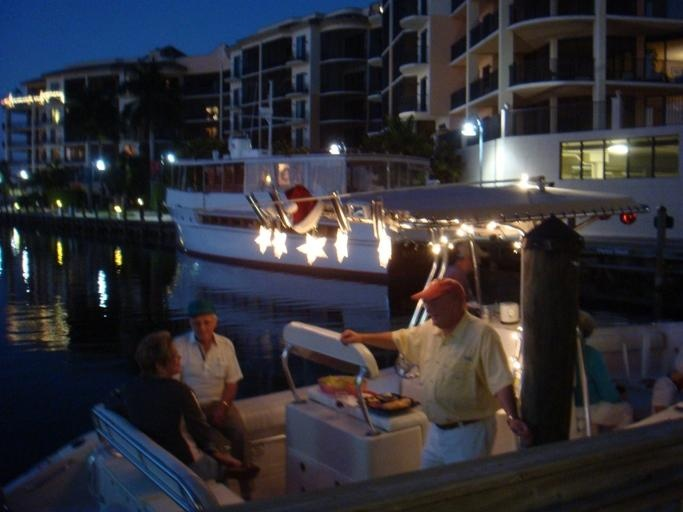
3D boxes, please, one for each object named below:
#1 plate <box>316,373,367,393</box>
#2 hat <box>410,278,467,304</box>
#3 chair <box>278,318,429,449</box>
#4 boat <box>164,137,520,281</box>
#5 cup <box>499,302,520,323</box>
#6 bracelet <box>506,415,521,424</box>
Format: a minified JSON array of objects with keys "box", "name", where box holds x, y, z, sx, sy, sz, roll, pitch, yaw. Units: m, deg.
[{"box":[-0.029,1.453,9.388,0.332,0.122,0.319,1,2,-20],"name":"plate"},{"box":[1.037,0.355,8.557,0.416,0.171,0.283,-5,-4,-7],"name":"hat"},{"box":[0.064,1.304,9.339,0.939,1.043,1.397,-8,11,-39],"name":"chair"},{"box":[-2.627,-1.868,31.061,12.995,5.350,3.307,4,3,43],"name":"boat"},{"box":[2.156,0.731,10.638,0.239,0.237,0.225,1,-2,0],"name":"cup"},{"box":[1.695,1.610,8.186,0.101,0.072,0.104,21,1,34],"name":"bracelet"}]
